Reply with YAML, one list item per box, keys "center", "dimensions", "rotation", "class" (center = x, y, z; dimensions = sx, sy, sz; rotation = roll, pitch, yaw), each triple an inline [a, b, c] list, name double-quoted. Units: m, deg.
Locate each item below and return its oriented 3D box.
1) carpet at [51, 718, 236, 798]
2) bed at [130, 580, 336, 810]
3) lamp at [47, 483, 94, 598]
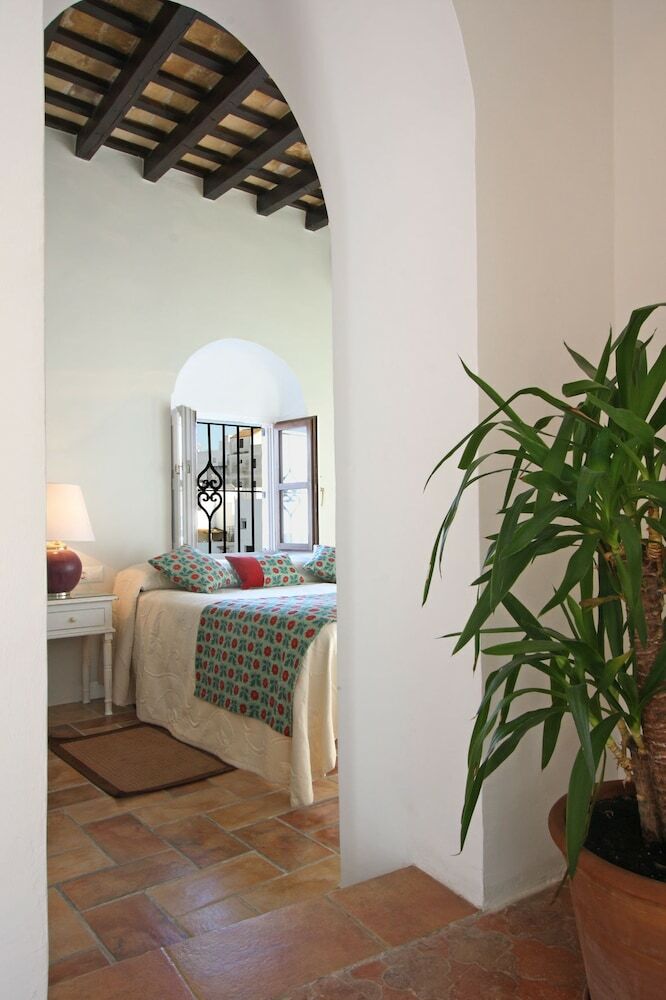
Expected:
- center: [-0.894, 1.157, 3.465]
  dimensions: [0.558, 0.021, 0.955]
  rotation: [2, -2, -38]
  class: "carpet"
- center: [-0.420, 0.807, 3.454]
  dimensions: [0.817, 0.400, 0.827]
  rotation: [4, -4, -44]
  class: "bed"
- center: [-1.412, 0.212, 4.104]
  dimensions: [0.214, 0.587, 0.406]
  rotation: [1, -2, -18]
  class: "lamp"
